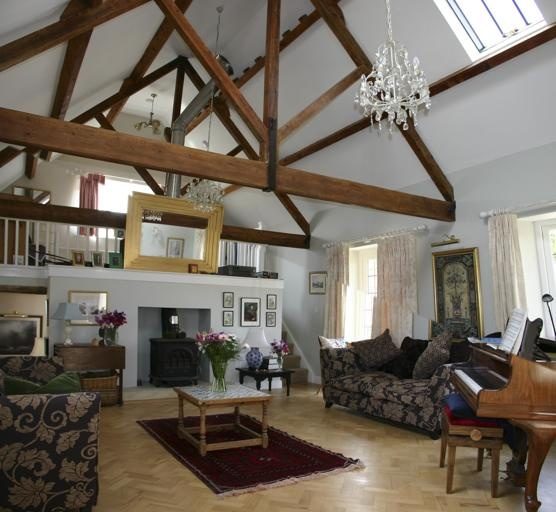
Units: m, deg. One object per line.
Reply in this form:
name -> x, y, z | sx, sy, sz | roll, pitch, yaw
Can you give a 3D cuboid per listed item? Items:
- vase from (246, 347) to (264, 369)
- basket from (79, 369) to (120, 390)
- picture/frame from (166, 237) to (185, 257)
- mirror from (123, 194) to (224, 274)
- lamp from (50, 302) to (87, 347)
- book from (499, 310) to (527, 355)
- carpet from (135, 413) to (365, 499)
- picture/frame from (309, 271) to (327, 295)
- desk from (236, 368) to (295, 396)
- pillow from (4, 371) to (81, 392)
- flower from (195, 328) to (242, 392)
vase -> -0.395, 1.682, 7.307 | 0.272, 0.353, 0.384 | 2, -8, 0
basket -> -2.542, 1.759, 6.263 | 0.417, 0.142, 0.303 | 4, -7, -37
picture/frame -> -1.871, -0.163, 7.887 | 0.018, 0.393, 0.361 | -1, -4, 43
mirror -> -1.891, -0.389, 7.716 | 1.554, 1.194, 0.115 | 3, -1, -33
lamp -> -3.021, 0.955, 6.317 | 0.388, 0.595, 0.731 | 5, -9, -25
book -> 1.842, 0.602, 3.445 | 0.088, 0.330, 0.334 | 20, 3, 17
carpet -> -0.310, 1.883, 4.397 | 1.461, 0.090, 1.884 | 6, -8, -31
picture/frame -> 0.822, 0.554, 9.006 | 0.037, 0.486, 0.513 | 5, 3, -32
desk -> -0.247, 2.194, 7.257 | 0.761, 0.342, 0.592 | 2, -4, -25
pillow -> -1.863, 0.979, 3.439 | 0.396, 0.135, 0.384 | 6, 11, -19
flower -> -0.646, 1.099, 4.903 | 0.578, 0.636, 0.582 | -1, 1, 16
